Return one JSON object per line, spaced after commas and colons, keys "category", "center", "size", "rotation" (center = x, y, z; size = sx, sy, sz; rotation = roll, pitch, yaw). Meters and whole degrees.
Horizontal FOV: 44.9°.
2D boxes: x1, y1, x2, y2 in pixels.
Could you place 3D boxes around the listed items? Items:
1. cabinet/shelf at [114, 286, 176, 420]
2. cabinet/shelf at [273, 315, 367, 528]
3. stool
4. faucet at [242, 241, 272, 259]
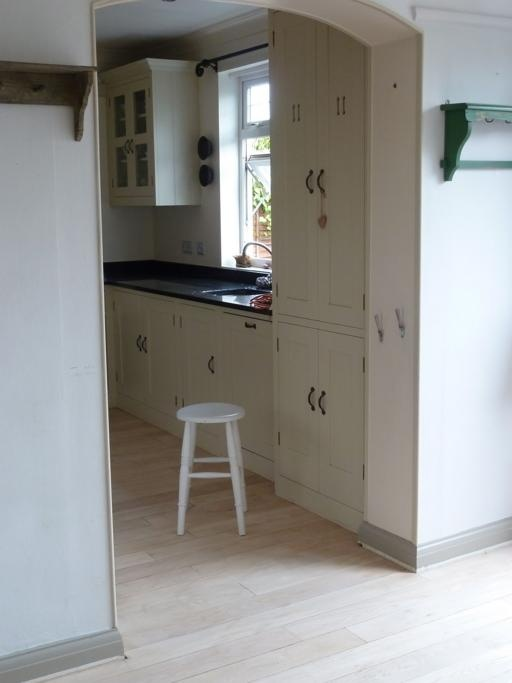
{"category": "cabinet/shelf", "center": [-0.684, 0.103, 4.509], "size": [0.310, 0.900, 0.895], "rotation": [-7, 12, -41]}
{"category": "cabinet/shelf", "center": [0.367, 0.317, 2.865], "size": [0.517, 1.019, 0.372], "rotation": [12, 21, 40]}
{"category": "stool", "center": [-0.198, 0.556, 2.759], "size": [0.400, 0.533, 0.416], "rotation": [-7, 9, -38]}
{"category": "faucet", "center": [-0.004, -0.651, 4.277], "size": [0.192, 0.101, 0.478], "rotation": [0, 5, -3]}
